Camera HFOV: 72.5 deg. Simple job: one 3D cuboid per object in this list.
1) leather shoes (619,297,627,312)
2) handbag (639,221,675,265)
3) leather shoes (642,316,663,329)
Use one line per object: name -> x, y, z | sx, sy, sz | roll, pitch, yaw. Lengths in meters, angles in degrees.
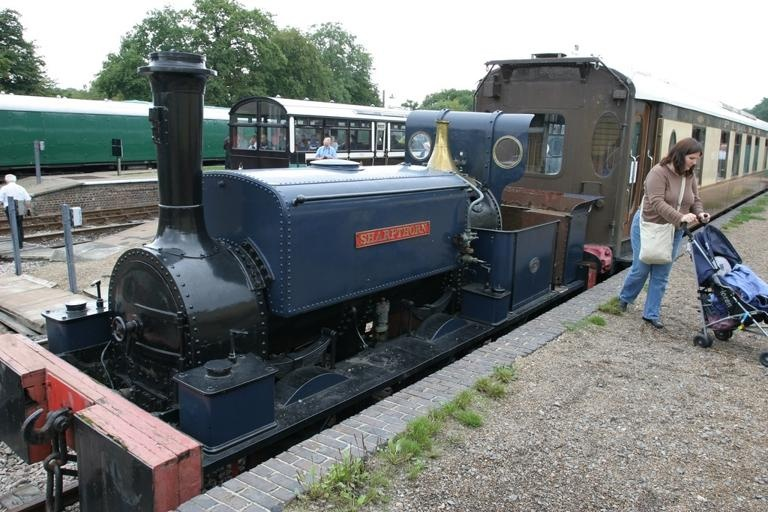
leather shoes -> 3.434, 0.693, 7.486 | 0.093, 0.169, 0.127 | 5, 40, 33
handbag -> 3.549, -0.179, 6.774 | 0.452, 0.587, 0.230 | 9, 21, 35
leather shoes -> 3.679, 0.903, 7.186 | 0.107, 0.110, 0.279 | -7, 9, -35
